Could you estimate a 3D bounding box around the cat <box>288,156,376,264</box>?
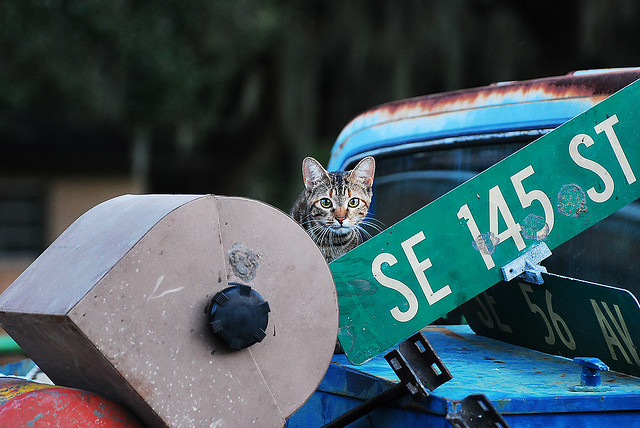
[{"bbox_3d":[0.107,-0.054,9.091,0.722,0.715,0.636,-4,-20,8],"label":"cat"}]
